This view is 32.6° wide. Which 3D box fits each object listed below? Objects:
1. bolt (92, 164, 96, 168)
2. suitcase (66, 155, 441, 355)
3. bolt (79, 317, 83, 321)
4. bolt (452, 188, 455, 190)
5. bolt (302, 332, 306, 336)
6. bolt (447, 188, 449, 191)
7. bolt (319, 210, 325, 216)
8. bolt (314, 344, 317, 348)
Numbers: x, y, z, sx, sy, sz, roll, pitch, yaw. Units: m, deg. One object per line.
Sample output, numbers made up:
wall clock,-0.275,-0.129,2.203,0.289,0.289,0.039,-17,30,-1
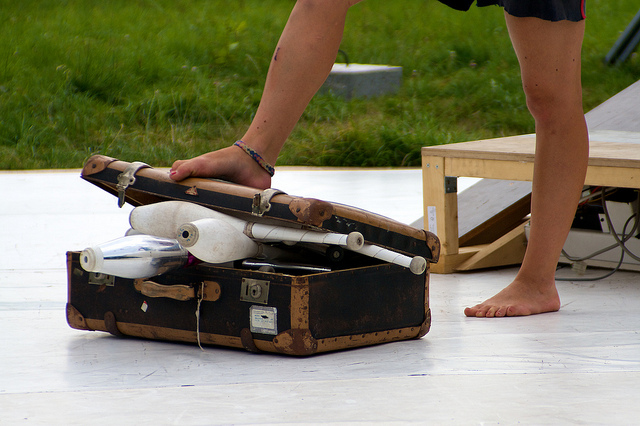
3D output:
bolt,-0.688,-0.140,3.309,0.010,0.007,0.009,0,-17,0
suitcase,-0.223,0.168,3.237,1.108,0.517,0.352,11,11,11
bolt,-0.712,0.308,3.235,0.010,0.009,0.002,-2,-3,6
bolt,0.470,-0.084,3.880,0.003,0.004,0.011,18,13,37
bolt,-0.048,0.332,3.048,0.009,0.011,0.001,7,12,-13
bolt,0.449,-0.083,3.866,0.011,0.010,0.009,0,1,34
bolt,0.002,0.001,3.069,0.011,0.004,0.013,-2,14,-14
bolt,-0.015,0.367,3.068,0.009,0.011,0.002,-1,15,-43
